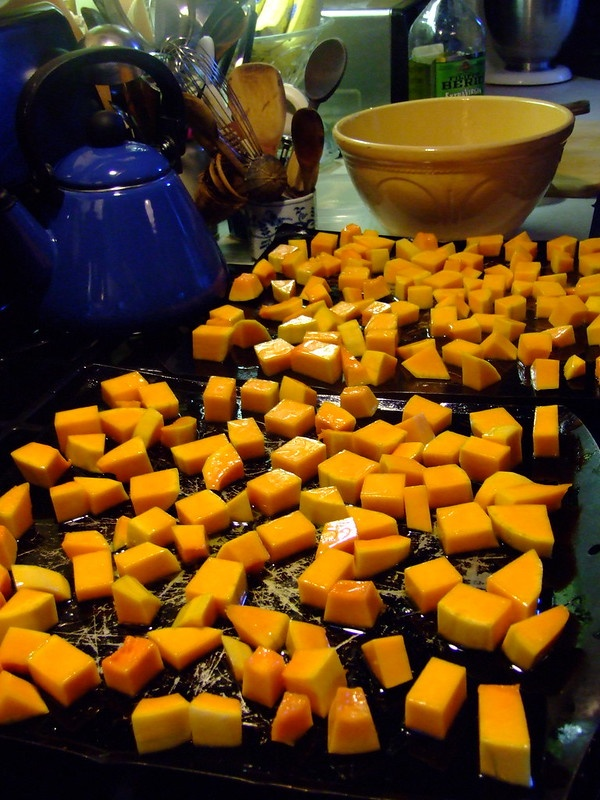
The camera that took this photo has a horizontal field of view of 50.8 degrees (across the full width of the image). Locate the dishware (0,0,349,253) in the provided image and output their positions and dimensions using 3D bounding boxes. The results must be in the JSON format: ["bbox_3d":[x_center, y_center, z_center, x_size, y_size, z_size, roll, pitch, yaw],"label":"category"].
[{"bbox_3d":[-0.162,-0.484,1.084,0.328,0.446,0.527,-21,44,-21],"label":"dishware"}]

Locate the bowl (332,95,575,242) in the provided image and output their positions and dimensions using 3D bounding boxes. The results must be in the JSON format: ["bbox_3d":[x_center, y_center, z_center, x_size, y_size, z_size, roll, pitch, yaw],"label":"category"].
[{"bbox_3d":[0.225,-0.341,0.947,0.332,0.199,0.297,-7,27,2],"label":"bowl"}]
